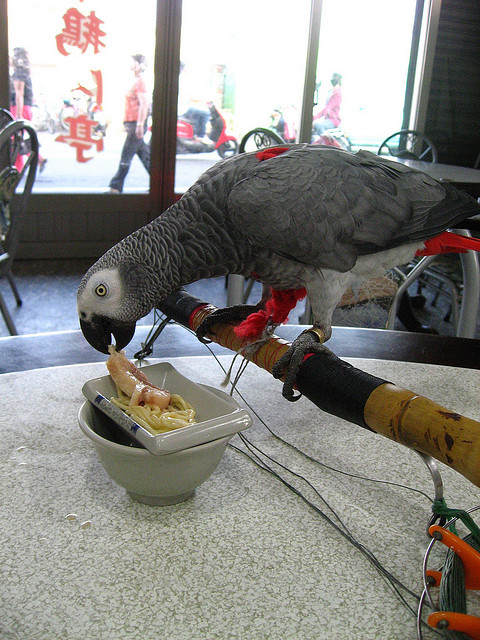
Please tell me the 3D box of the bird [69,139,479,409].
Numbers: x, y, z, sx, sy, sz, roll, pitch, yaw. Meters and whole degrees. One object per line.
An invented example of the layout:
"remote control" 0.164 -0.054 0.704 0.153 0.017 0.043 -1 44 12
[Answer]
"bird" 0.065 -0.094 0.751 0.368 0.330 0.486 21 25 38

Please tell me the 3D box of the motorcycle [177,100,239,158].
"motorcycle" -0.257 -1.111 2.952 0.494 0.313 0.173 1 8 -5

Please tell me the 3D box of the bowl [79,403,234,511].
"bowl" -0.082 0.131 0.490 0.142 0.069 0.116 5 11 29
